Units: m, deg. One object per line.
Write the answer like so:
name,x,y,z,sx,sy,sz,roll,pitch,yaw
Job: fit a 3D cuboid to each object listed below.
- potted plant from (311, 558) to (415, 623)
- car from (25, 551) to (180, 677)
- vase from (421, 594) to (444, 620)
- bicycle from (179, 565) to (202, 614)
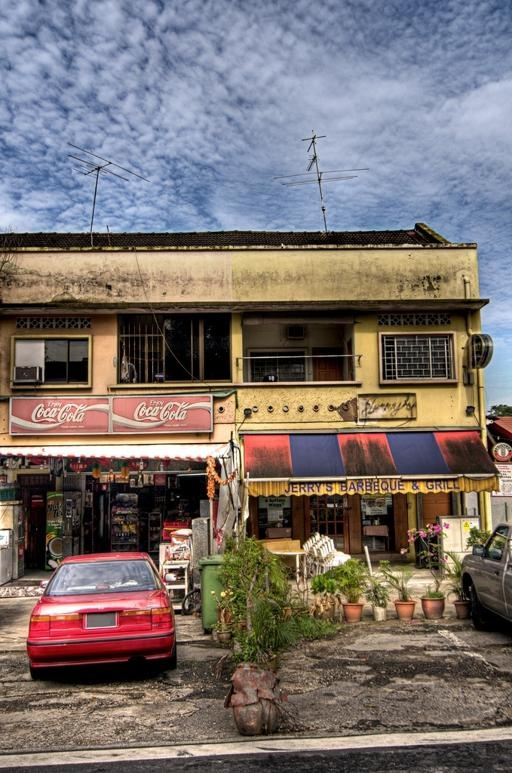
potted plant,1.522,3.037,9.870,1.243,0.711,0.905,0,-11,-1
car,-1.606,2.352,6.970,0.850,0.662,2.008,-1,-4,-8
vase,2.648,3.333,9.844,0.321,0.246,0.321,2,-16,-5
bicycle,-1.127,3.558,11.222,0.429,0.827,0.354,-1,4,-1
